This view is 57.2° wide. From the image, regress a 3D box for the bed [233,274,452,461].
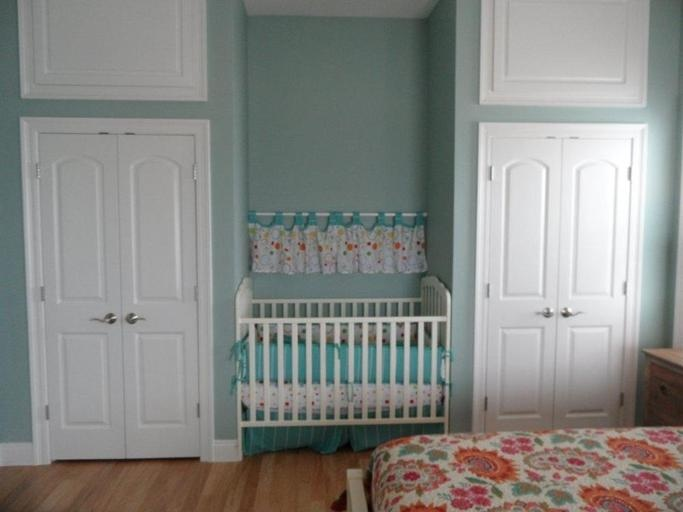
[{"bbox_3d":[0.080,0.877,5.122,1.607,1.294,0.977,-5,-22,27],"label":"bed"}]
